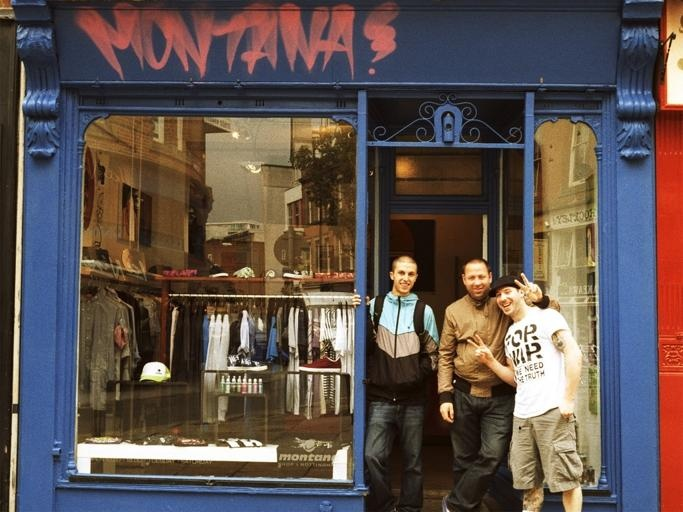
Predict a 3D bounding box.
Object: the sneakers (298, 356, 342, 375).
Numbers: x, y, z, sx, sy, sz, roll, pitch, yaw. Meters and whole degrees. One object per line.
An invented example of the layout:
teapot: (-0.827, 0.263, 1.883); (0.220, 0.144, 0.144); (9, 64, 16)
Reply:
sneakers: (-0.207, 1.181, 10.966); (0.346, 0.153, 0.191); (1, -9, 5)

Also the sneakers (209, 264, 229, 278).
sneakers: (-1.332, 0.169, 11.244); (0.180, 0.128, 0.126); (-2, 0, -7)
